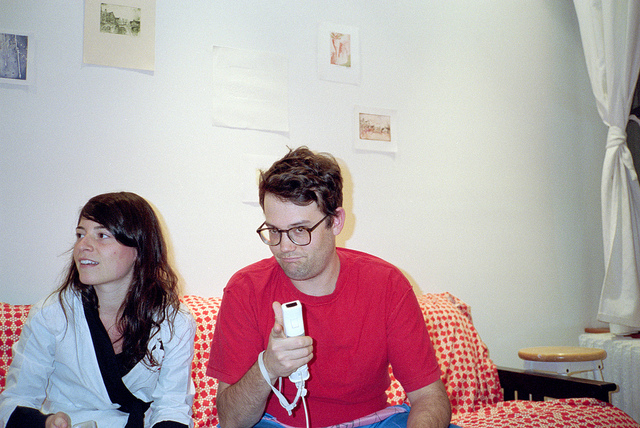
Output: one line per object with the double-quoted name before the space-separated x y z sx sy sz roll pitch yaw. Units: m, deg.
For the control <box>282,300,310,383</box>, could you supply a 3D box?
"control" -0.110 0.491 1.845 0.111 0.317 0.080 1 -5 -34
